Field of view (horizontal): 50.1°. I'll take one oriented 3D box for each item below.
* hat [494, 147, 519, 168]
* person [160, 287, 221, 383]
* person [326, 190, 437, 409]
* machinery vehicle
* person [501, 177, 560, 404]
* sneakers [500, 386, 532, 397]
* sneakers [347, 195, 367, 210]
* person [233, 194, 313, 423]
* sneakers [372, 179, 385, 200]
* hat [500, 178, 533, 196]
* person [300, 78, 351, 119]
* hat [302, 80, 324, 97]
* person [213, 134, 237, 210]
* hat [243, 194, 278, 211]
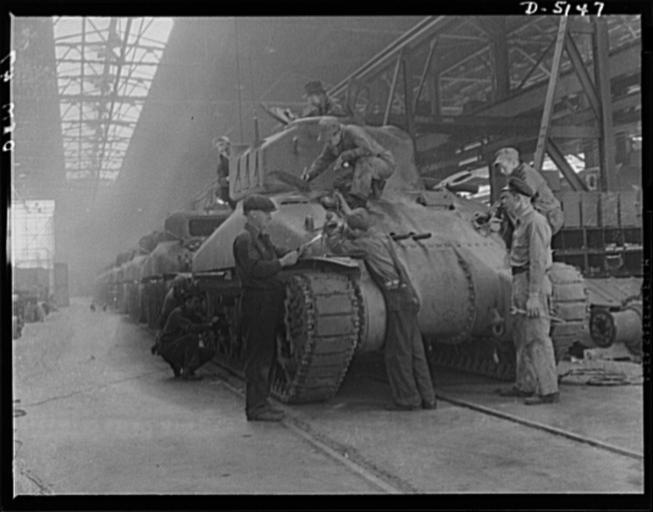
[{"bbox_3d":[1.950,-1.097,7.598,0.256,0.166,0.198,-6,5,-7],"label":"hat"},{"bbox_3d":[-1.651,0.937,8.156,0.834,1.255,0.589,-1,-8,-21],"label":"person"},{"bbox_3d":[0.583,0.431,7.350,0.741,2.587,0.746,-8,18,1],"label":"person"},{"bbox_3d":[0.070,0.120,8.995,2.905,2.691,4.996,-1,3,-24],"label":"machinery vehicle"},{"bbox_3d":[2.103,0.356,7.259,0.447,2.280,0.830,-6,13,-27],"label":"person"},{"bbox_3d":[2.027,1.468,7.470,0.313,0.162,0.116,-7,-4,20],"label":"sneakers"},{"bbox_3d":[0.336,-0.615,7.789,0.177,0.155,0.138,43,-5,3],"label":"sneakers"},{"bbox_3d":[-0.603,0.526,6.886,0.570,2.213,0.784,-2,12,-12],"label":"person"},{"bbox_3d":[0.592,-0.777,8.043,0.166,0.282,0.161,4,1,-16],"label":"sneakers"},{"bbox_3d":[1.999,-0.727,7.331,0.166,0.254,0.242,-1,30,-39],"label":"hat"},{"bbox_3d":[-0.039,-1.971,8.628,0.335,0.481,0.763,-19,21,-15],"label":"person"},{"bbox_3d":[-0.146,-2.078,8.557,0.278,0.184,0.216,3,13,10],"label":"hat"},{"bbox_3d":[-1.309,-1.148,9.044,0.325,1.159,0.345,-8,31,-16],"label":"person"},{"bbox_3d":[-0.673,-0.524,6.952,0.226,0.135,0.176,-4,5,-7],"label":"hat"}]
